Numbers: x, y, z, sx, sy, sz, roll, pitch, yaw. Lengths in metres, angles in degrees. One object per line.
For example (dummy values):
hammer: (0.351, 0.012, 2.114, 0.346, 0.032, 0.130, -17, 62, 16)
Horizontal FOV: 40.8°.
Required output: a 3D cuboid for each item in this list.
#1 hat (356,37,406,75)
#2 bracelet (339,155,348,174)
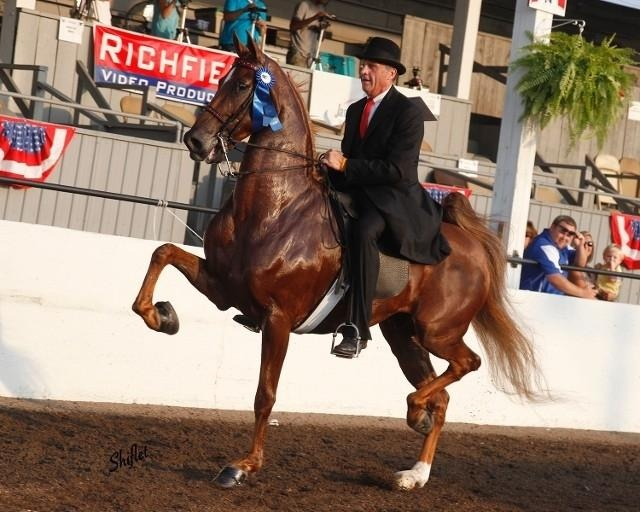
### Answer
hat: (0.492, -1.694, 7.412, 0.584, 0.230, 0.651, -2, -1, 6)
bracelet: (0.189, -0.741, 7.028, 0.045, 0.098, 0.090, 4, 27, 0)
